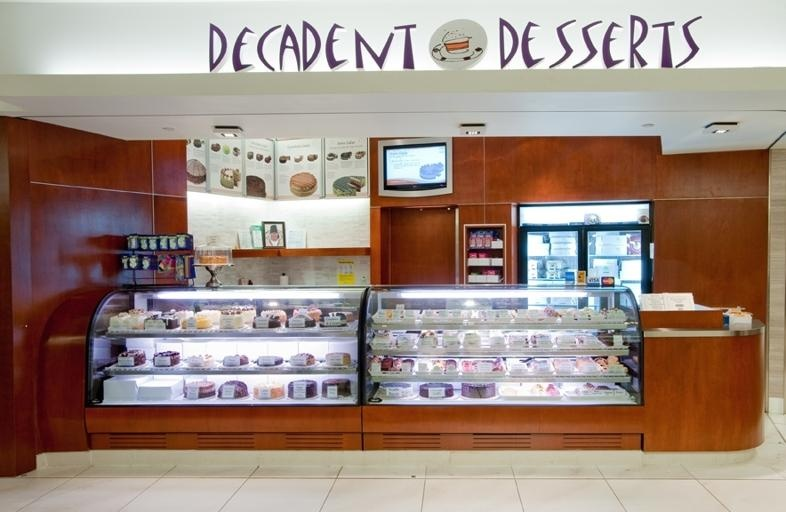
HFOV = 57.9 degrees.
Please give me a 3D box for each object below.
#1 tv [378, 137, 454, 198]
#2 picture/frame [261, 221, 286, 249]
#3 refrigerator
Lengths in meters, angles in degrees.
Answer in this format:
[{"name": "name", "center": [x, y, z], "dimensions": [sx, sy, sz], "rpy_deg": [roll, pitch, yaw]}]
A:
[{"name": "tv", "center": [0.343, -1.220, 9.717], "dimensions": [1.038, 0.694, 0.093], "rpy_deg": [0, 3, 5]}, {"name": "picture/frame", "center": [-1.733, -0.287, 10.131], "dimensions": [0.459, 0.417, 0.037], "rpy_deg": [3, -15, -25]}, {"name": "refrigerator", "center": [2.506, -0.051, 8.935], "dimensions": [1.628, 1.203, 0.464], "rpy_deg": [1, 1, 7]}]
